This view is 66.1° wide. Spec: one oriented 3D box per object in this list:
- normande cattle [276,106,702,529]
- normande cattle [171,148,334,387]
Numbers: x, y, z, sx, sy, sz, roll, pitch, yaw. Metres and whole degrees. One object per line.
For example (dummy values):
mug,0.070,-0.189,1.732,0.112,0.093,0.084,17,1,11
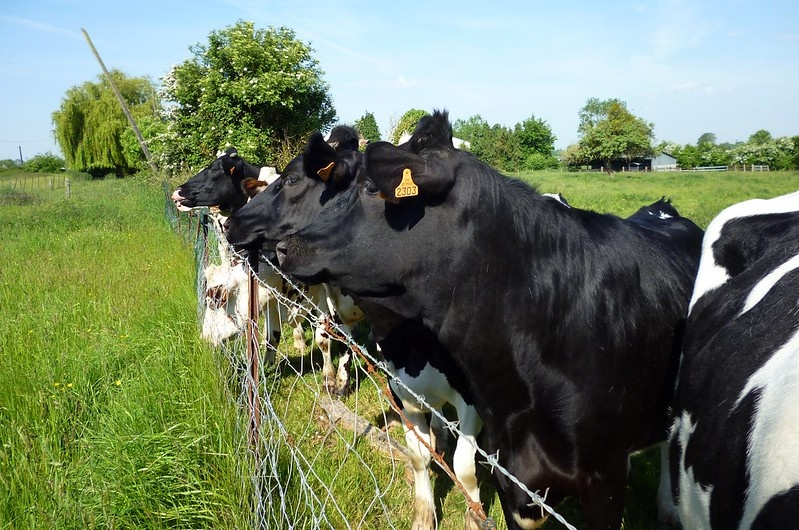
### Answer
normande cattle,0.004,0.519,4.472,3.706,2.589,1.366,7,-14,-20
normande cattle,-2.080,0.018,9.777,1.319,2.909,3.939,9,-5,37
